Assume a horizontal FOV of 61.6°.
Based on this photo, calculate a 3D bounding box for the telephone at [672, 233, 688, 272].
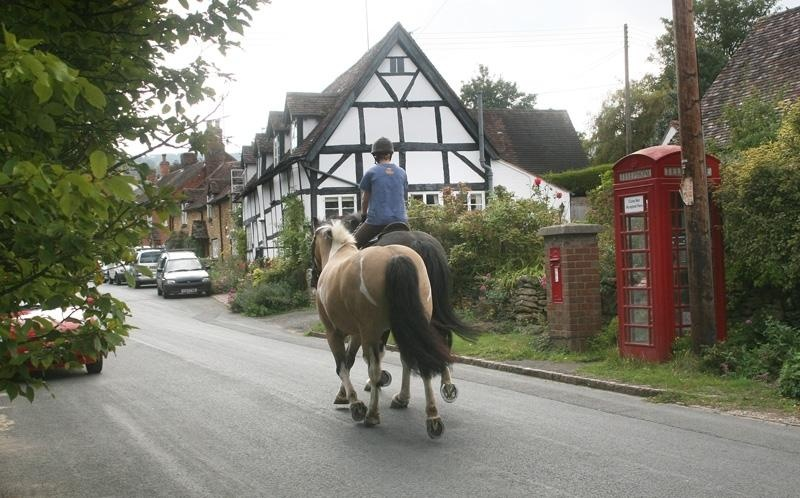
[{"bbox_3d":[5.243,0.030,12.568,0.397,0.673,0.155,0,-1,-32],"label":"telephone"}]

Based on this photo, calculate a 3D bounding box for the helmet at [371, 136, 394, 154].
[{"bbox_3d":[-0.305,-1.700,11.001,0.309,0.317,0.484,0,-2,-1],"label":"helmet"}]

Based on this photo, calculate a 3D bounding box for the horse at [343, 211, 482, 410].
[{"bbox_3d":[-0.193,1.070,11.177,0.978,3.187,3.949,-2,-2,-36],"label":"horse"}]

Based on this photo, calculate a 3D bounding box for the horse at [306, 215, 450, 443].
[{"bbox_3d":[-0.354,1.005,9.644,1.155,2.964,2.449,0,-2,-32],"label":"horse"}]
